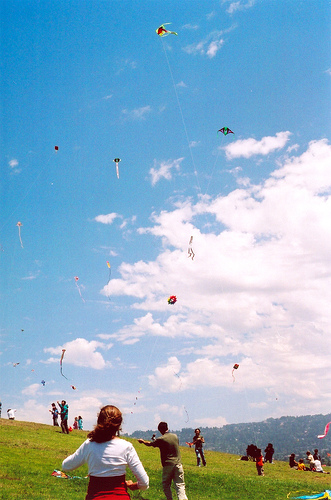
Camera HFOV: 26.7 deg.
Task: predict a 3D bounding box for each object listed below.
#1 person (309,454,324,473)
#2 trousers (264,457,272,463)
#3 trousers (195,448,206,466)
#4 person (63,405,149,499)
[{"bbox_3d":[7.710,11.208,36.066,0.636,0.850,2.415,-9,-12,10],"label":"person"},{"bbox_3d":[5.519,11.504,37.997,0.413,0.374,0.523,-8,-11,5],"label":"trousers"},{"bbox_3d":[1.488,9.222,30.905,0.372,0.846,1.069,-7,-11,0],"label":"trousers"},{"bbox_3d":[-1.193,4.075,13.908,1.473,1.818,0.396,-5,-11,-10],"label":"person"}]
